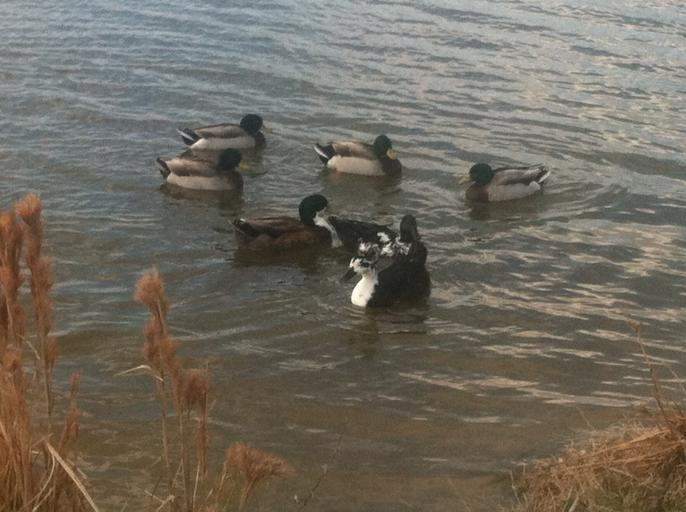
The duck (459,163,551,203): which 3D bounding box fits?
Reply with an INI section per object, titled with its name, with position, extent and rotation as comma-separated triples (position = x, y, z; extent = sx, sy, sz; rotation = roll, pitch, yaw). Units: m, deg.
[duck]
position = 3.818, -1.685, 23.242
extent = 2.198, 0.679, 0.913
rotation = -4, 30, -8
